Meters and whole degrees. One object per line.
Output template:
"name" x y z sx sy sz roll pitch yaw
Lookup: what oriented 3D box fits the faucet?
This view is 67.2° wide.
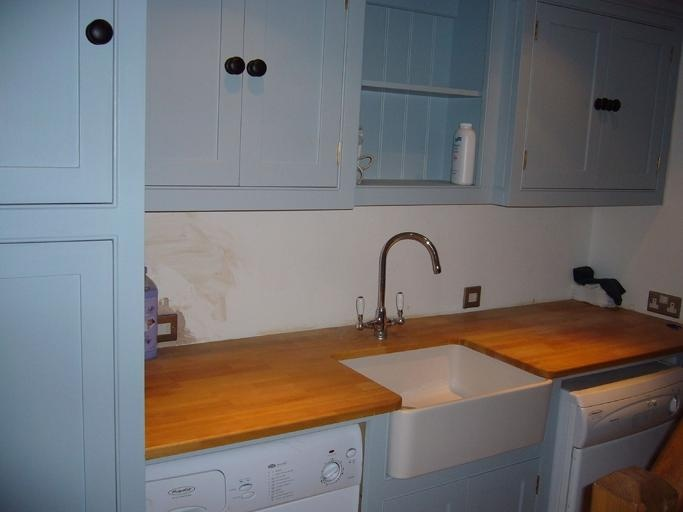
"faucet" 0.274 0.046 2.211 0.247 0.318 0.366 -3 10 4
